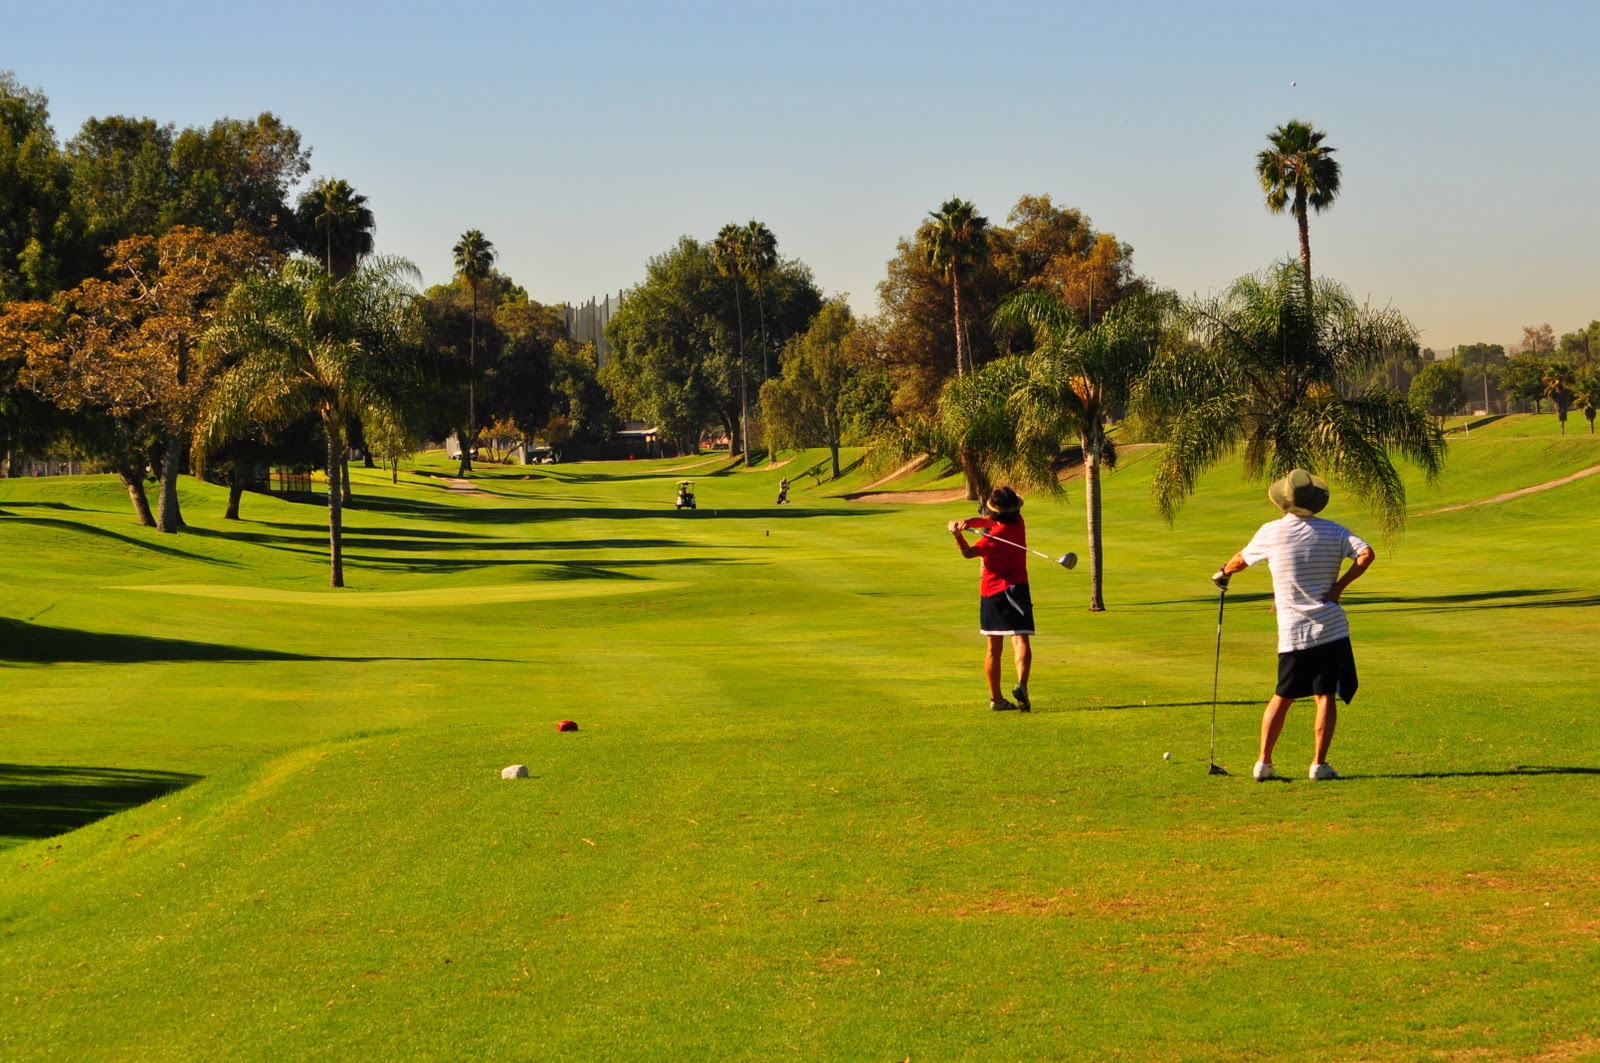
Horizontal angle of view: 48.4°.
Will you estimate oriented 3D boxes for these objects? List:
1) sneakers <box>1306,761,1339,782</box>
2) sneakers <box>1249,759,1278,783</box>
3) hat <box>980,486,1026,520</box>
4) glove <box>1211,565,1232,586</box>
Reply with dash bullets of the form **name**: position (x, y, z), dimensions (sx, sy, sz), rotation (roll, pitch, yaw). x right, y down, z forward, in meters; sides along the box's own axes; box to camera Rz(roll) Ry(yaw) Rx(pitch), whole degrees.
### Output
- **sneakers**: position (5.501, 2.536, 18.741), dimensions (0.141, 0.151, 0.360), rotation (4, 3, 40)
- **sneakers**: position (4.904, 2.543, 18.842), dimensions (0.176, 0.234, 0.240), rotation (0, -3, -1)
- **hat**: position (2.564, -0.353, 22.360), dimensions (0.537, 0.471, 0.416), rotation (-14, 17, -43)
- **glove**: position (4.507, 0.518, 18.997), dimensions (0.248, 0.123, 0.345), rotation (3, 6, 21)
